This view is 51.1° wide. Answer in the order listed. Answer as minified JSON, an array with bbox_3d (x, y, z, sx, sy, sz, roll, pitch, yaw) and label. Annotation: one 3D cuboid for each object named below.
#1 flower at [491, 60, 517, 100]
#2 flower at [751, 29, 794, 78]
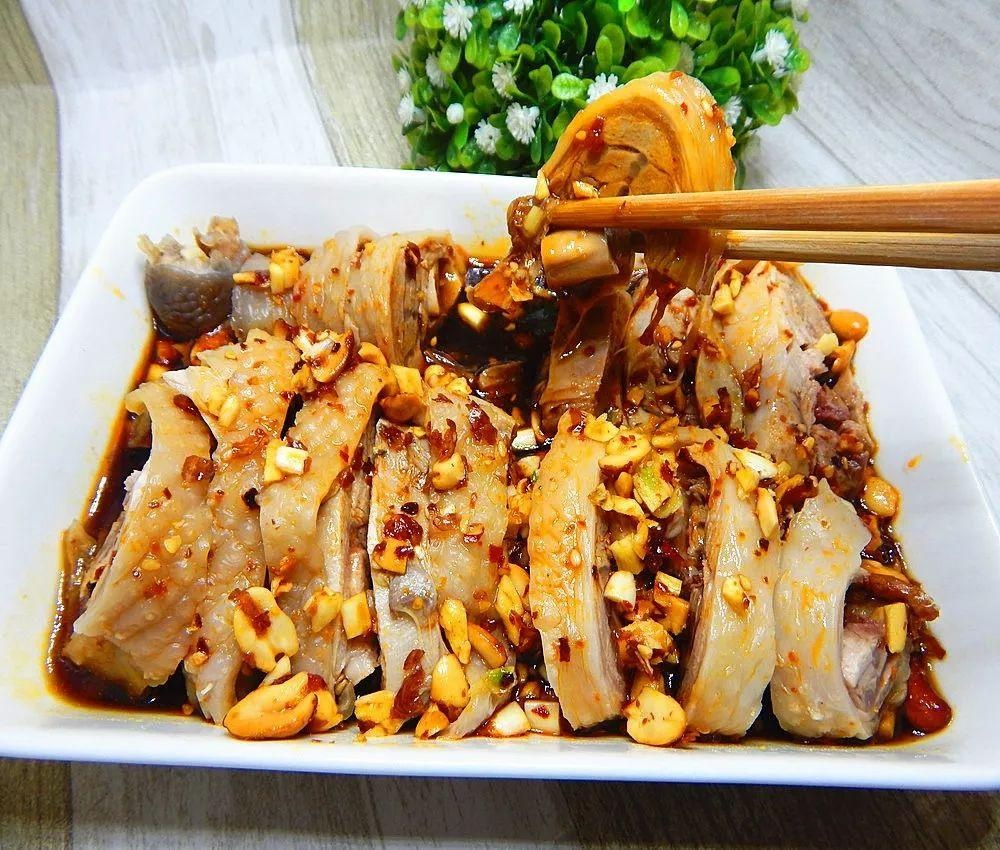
[{"bbox_3d":[0.009,-1.359,4.107,0.094,0.123,0.050,12,8,3],"label":"flower"},{"bbox_3d":[1.073,-1.477,4.142,0.131,0.148,0.069,15,11,-39],"label":"flower"}]
